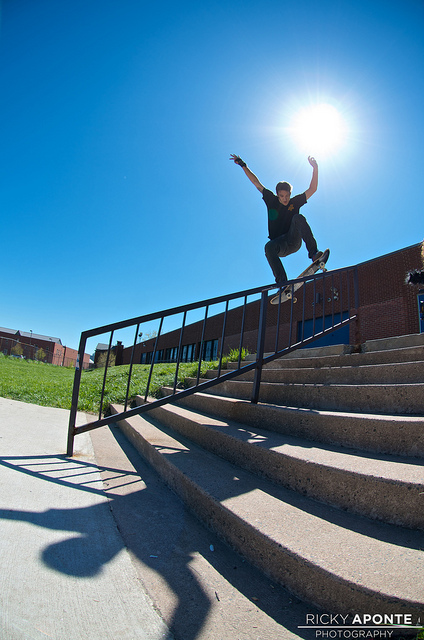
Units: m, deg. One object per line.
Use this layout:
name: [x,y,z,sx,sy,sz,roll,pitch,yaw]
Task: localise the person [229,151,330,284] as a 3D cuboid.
person: [0.983,-1.335,4.712,0.968,1.768,0.906,-12,-12,21]
